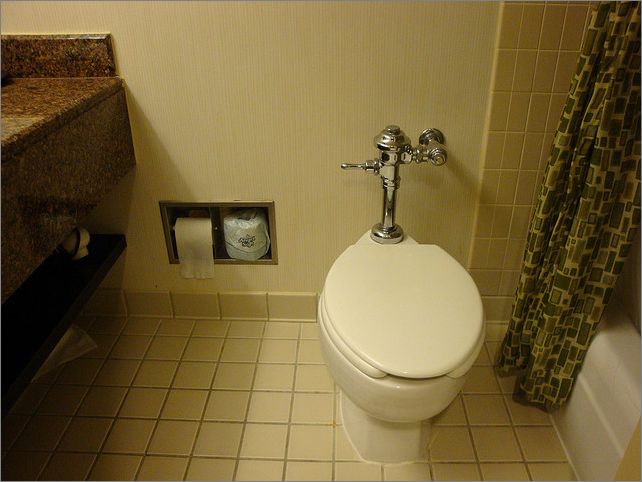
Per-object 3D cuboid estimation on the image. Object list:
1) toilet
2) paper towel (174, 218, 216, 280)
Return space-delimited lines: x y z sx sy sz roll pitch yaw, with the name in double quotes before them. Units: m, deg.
"toilet" 0.213 0.171 1.432 0.440 0.822 0.601 -1 28 -1
"paper towel" -0.449 0.020 1.785 0.145 0.299 0.107 1 41 -5
